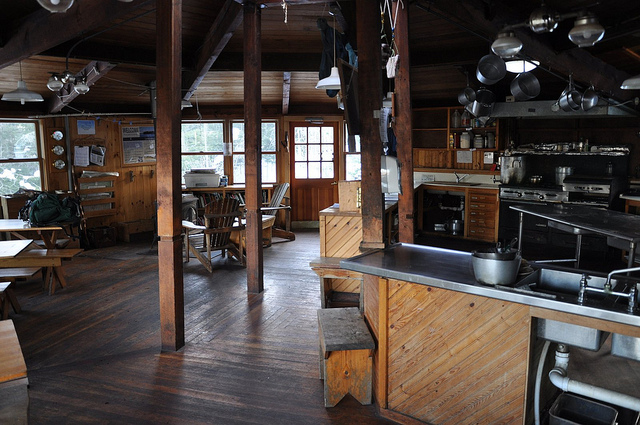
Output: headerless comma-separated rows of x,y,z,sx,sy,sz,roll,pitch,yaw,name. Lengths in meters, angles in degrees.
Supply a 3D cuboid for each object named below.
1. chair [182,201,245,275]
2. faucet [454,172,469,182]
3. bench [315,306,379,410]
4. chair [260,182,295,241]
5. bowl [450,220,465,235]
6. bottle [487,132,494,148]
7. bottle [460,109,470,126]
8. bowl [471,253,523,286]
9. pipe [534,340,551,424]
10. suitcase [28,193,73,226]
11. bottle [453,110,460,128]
-1.970,0.378,8.394,1.140,1.168,1.128,-2,2,23,chair
3.002,-0.756,9.648,0.185,0.192,0.190,-6,15,-22,faucet
0.197,1.370,4.710,0.692,0.801,1.305,-2,9,-4,bench
-0.959,-0.069,10.312,0.718,1.270,1.759,-1,14,-4,chair
2.920,0.315,9.570,0.331,0.206,0.240,1,3,15,bowl
3.550,-1.503,9.317,0.147,0.308,0.039,5,15,18,bottle
3.069,-2.003,9.537,0.130,0.364,0.299,-2,14,-7,bottle
1.485,0.473,3.924,0.415,0.241,0.424,19,-8,3,bowl
1.866,1.427,3.796,0.074,0.695,0.215,8,16,28,pipe
-4.708,-0.065,7.835,0.662,0.267,0.532,1,8,5,suitcase
2.931,-2.008,9.618,0.133,0.364,0.156,1,14,4,bottle
